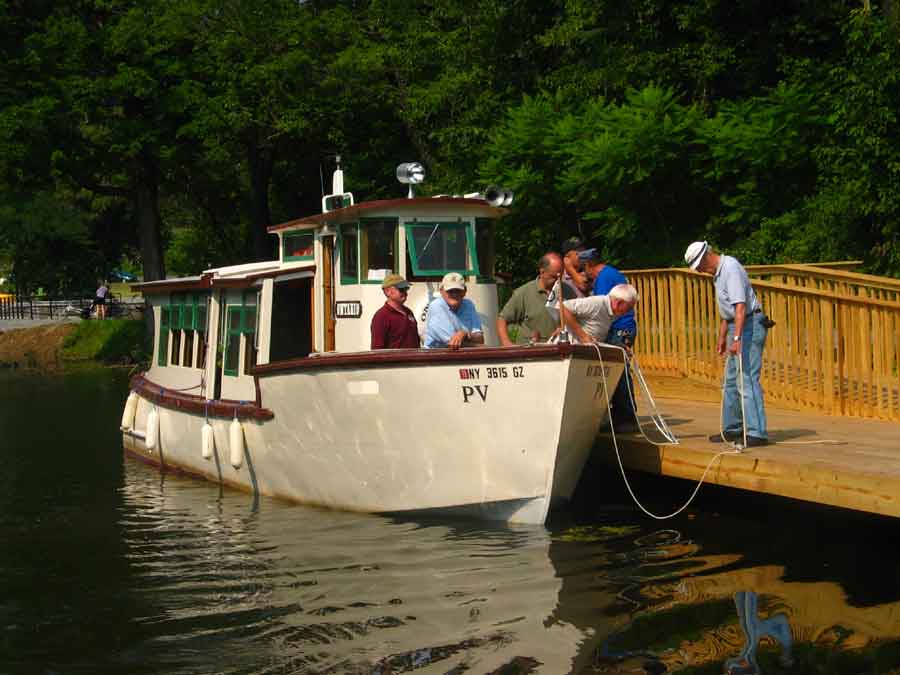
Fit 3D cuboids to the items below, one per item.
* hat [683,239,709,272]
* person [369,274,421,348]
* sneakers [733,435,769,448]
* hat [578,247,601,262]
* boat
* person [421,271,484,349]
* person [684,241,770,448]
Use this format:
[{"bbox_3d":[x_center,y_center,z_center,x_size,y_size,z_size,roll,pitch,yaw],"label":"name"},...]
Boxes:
[{"bbox_3d":[3.190,-1.016,12.964,0.272,0.361,0.945,-2,6,13],"label":"hat"},{"bbox_3d":[-0.769,-0.322,13.505,0.656,0.950,0.458,-3,6,-5],"label":"person"},{"bbox_3d":[3.815,1.333,12.650,0.440,0.193,0.166,4,-4,3],"label":"sneakers"},{"bbox_3d":[1.887,-1.096,13.765,0.220,0.169,0.350,-2,6,13],"label":"hat"},{"bbox_3d":[-1.850,-0.190,17.522,4.623,5.371,11.984,-4,3,-30],"label":"boat"},{"bbox_3d":[0.008,-0.343,13.205,0.774,0.957,0.835,-3,6,-2],"label":"person"},{"bbox_3d":[3.572,0.097,12.794,0.823,2.594,0.870,3,8,45],"label":"person"}]
